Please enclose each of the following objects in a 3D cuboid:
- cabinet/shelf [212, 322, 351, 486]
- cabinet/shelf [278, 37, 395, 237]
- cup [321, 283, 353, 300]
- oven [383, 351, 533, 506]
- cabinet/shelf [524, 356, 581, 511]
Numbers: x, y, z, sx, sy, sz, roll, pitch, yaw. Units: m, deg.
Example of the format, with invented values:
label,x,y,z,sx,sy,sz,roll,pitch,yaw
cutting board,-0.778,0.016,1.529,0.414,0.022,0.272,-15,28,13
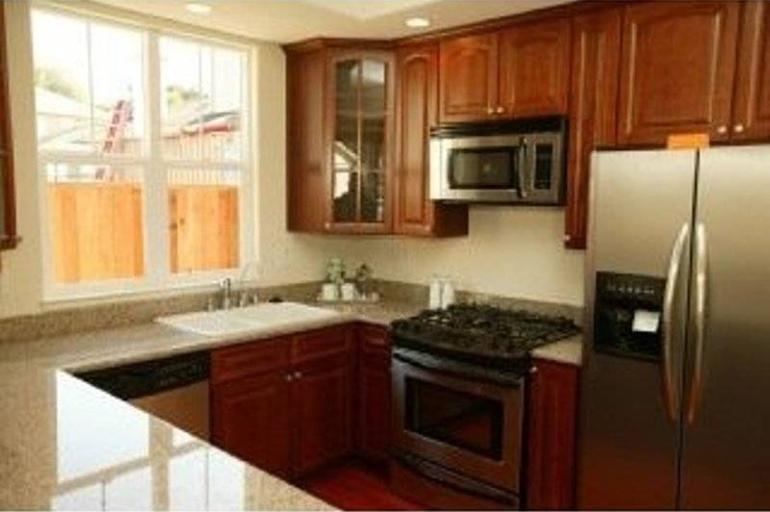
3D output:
label,x,y,z,sx,sy,sz,roll,pitch,yaw
cabinet/shelf,-0.532,1.006,3.938,1.041,0.922,0.495,-16,-22,18
cabinet/shelf,-0.343,-0.825,4.268,0.817,1.321,0.323,2,11,27
cup,-0.377,0.271,4.489,0.265,0.125,0.100,-1,10,9
oven,0.505,0.880,3.859,1.092,0.999,0.748,4,4,43
cabinet/shelf,0.927,1.002,3.314,0.273,0.835,0.166,0,10,19
